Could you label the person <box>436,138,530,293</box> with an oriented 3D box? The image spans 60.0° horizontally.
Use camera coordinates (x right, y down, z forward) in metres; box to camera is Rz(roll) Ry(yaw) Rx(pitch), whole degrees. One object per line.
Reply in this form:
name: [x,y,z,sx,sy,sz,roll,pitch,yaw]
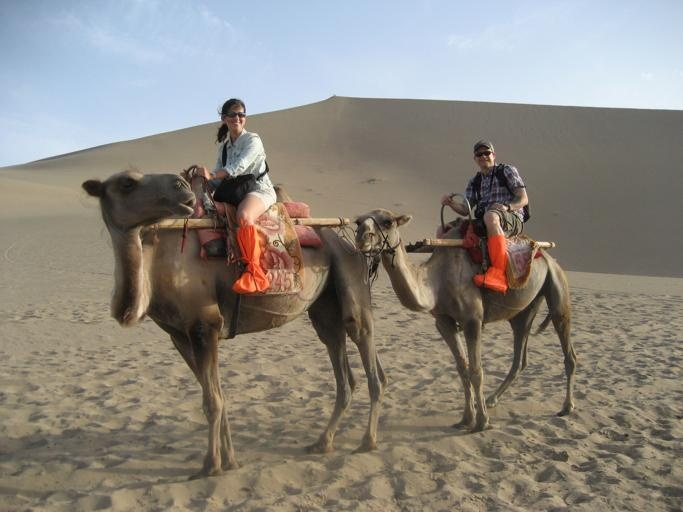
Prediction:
person: [1.973,-0.545,8.006,1.105,1.952,1.137,-2,-8,4]
